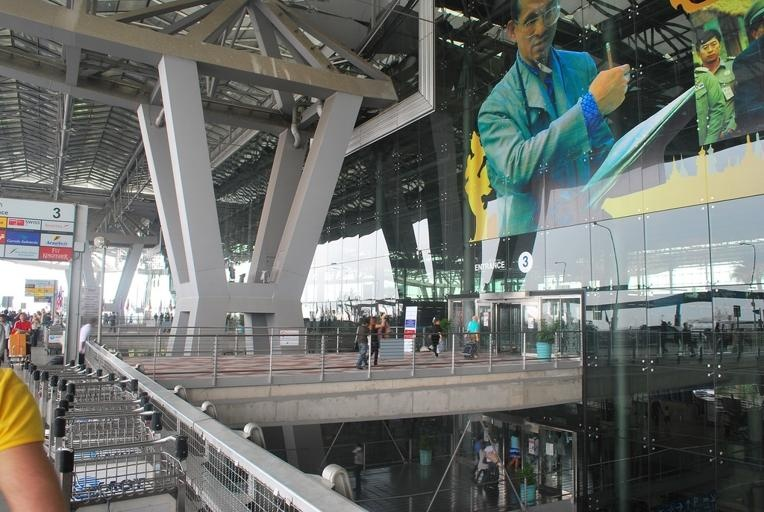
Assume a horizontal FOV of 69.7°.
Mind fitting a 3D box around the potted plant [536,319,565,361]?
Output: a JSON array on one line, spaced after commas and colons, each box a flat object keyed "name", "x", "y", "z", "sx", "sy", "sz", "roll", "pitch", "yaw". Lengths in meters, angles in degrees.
[{"name": "potted plant", "x": 6.200, "y": 3.052, "z": 19.804, "sx": 1.203, "sy": 1.578, "sz": 1.237, "roll": 1, "pitch": -11, "yaw": 6}]

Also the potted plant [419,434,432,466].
[{"name": "potted plant", "x": 1.838, "y": 8.390, "z": 23.497, "sx": 0.528, "sy": 1.213, "sz": 0.651, "roll": 4, "pitch": -8, "yaw": -26}]

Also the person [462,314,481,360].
[{"name": "person", "x": 3.492, "y": 3.205, "z": 21.188, "sx": 0.645, "sy": 1.805, "sz": 0.601, "roll": -8, "pitch": -30, "yaw": 37}]

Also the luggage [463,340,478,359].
[{"name": "luggage", "x": 3.321, "y": 3.582, "z": 20.672, "sx": 0.613, "sy": 0.838, "sz": 0.455, "roll": 5, "pitch": -1, "yaw": 13}]

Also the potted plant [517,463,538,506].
[{"name": "potted plant", "x": 5.305, "y": 8.273, "z": 20.016, "sx": 0.619, "sy": 1.400, "sz": 1.006, "roll": -1, "pitch": -7, "yaw": 14}]
